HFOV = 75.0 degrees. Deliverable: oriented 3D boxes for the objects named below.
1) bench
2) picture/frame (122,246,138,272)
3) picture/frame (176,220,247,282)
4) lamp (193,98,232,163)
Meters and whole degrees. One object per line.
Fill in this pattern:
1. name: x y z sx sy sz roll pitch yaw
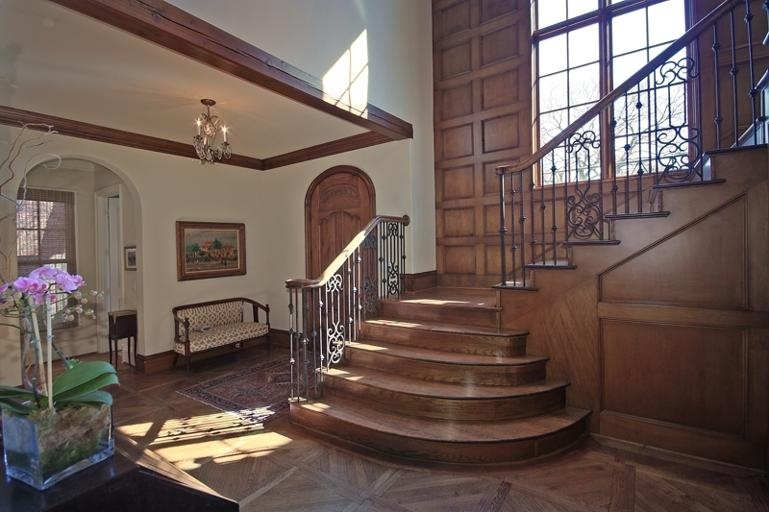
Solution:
1. bench: -2.603 1.181 7.955 0.594 0.890 1.611 3 4 33
2. picture/frame: -3.942 0.048 7.777 0.374 0.397 0.098 11 16 44
3. picture/frame: -2.868 -0.076 8.143 0.049 0.853 1.024 -2 -1 39
4. lamp: -2.370 -1.689 6.798 0.544 0.804 0.583 -9 17 -42
